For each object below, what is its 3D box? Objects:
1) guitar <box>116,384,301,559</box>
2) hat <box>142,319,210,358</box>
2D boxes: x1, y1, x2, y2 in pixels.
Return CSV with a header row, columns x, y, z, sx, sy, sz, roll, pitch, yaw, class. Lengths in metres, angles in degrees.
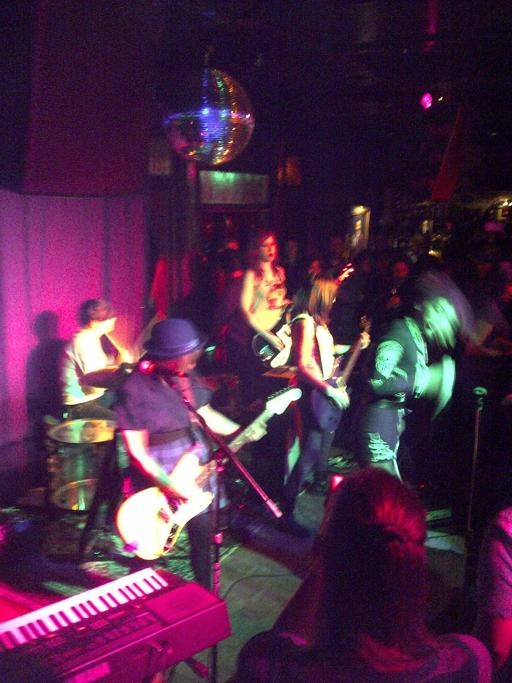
x,y,z,sx,sy,sz,roll,pitch,yaw,class
-0.207,0.632,3.013,0.312,1.043,0.143,45,9,-19,guitar
-0.319,-0.009,2.567,0.231,0.152,0.161,4,8,-9,hat
